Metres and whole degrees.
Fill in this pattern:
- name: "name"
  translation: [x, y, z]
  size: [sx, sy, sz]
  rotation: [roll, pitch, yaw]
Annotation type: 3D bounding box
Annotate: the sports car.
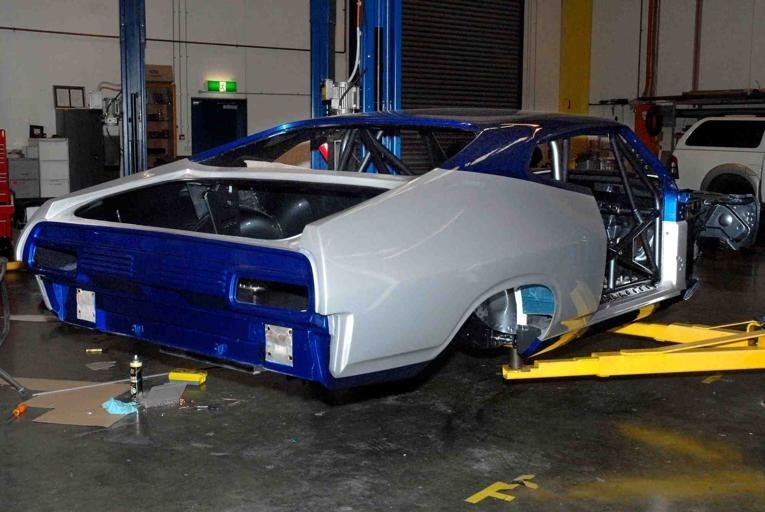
- name: "sports car"
  translation: [0.066, -0.103, 5.393]
  size: [5.081, 2.034, 2.252]
  rotation: [-4, 16, -28]
